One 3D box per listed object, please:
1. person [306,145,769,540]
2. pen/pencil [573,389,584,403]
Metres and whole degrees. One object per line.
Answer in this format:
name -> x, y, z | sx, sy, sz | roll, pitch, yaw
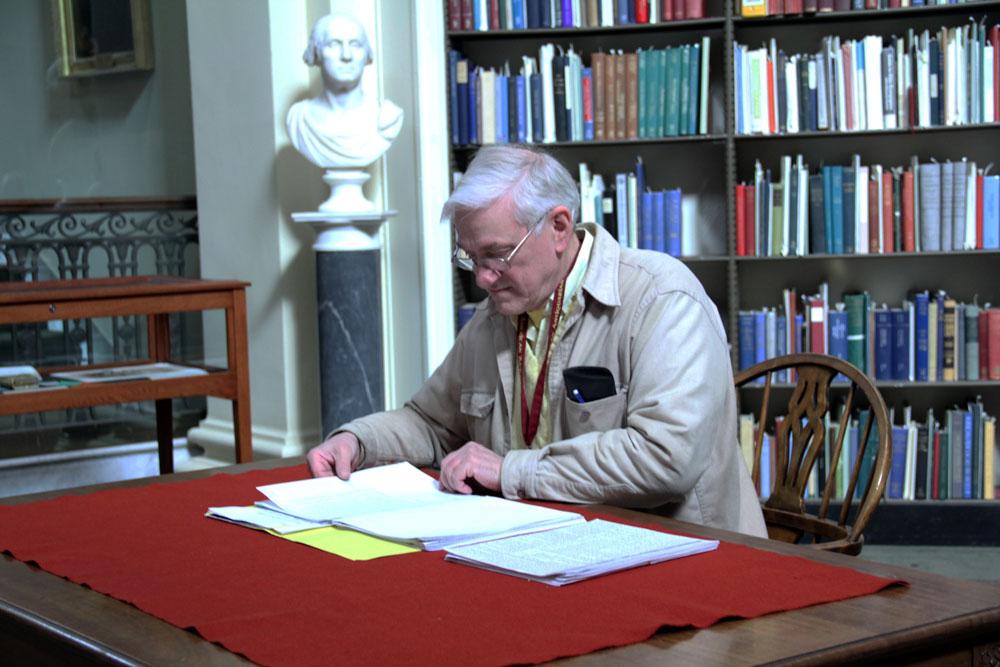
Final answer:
person -> 0.116, 0.036, 2.693 | 1.002, 1.499, 0.923 | 0, -6, -35
pen/pencil -> 0.182, 0.144, 2.109 | 0.025, 0.027, 0.006 | 1, 11, 15
